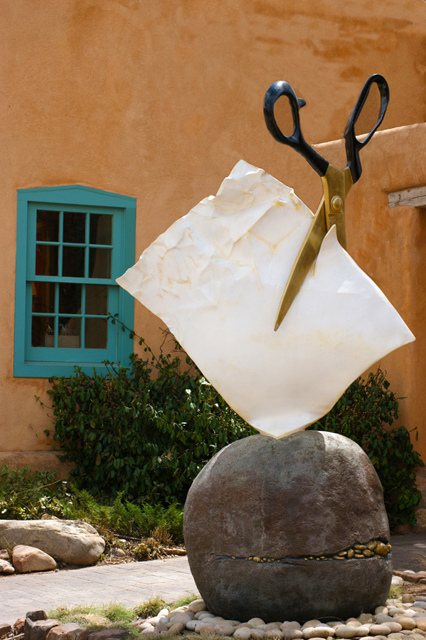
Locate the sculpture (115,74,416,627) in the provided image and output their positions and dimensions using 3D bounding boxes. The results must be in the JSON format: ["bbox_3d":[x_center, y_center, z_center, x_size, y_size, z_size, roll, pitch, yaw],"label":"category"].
[{"bbox_3d":[0.382,0.159,7.661,1.429,3.226,0.689,-1,-2,-3],"label":"sculpture"}]
